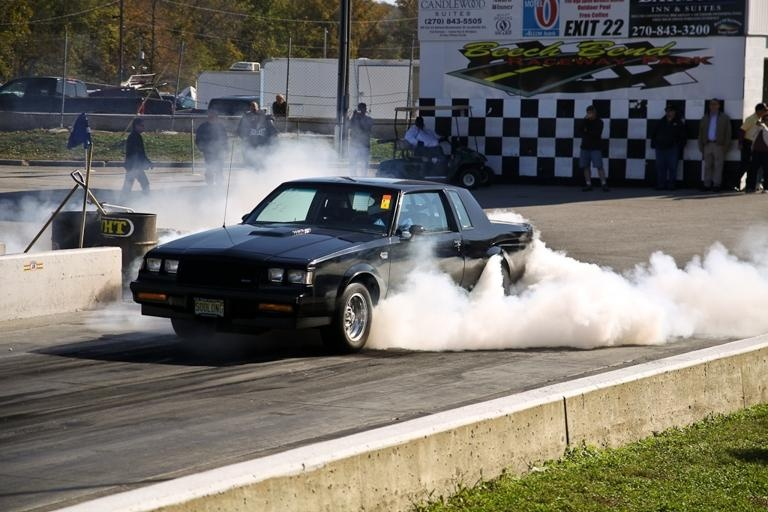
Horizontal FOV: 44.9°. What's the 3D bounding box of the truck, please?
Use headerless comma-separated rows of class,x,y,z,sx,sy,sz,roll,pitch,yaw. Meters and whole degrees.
truck,-2.278,-7.208,38.247,6.860,2.562,2.238,-4,29,-22

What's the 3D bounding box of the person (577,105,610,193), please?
person,4.598,-2.405,20.312,0.658,1.803,0.882,2,12,10

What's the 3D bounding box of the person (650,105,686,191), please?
person,6.205,-2.362,20.077,0.697,1.795,0.481,-7,14,-31

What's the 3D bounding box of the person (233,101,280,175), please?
person,-2.663,-2.576,19.695,0.849,1.813,0.436,1,50,-6

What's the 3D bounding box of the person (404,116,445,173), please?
person,0.909,-2.456,20.441,0.686,1.228,0.756,-6,13,-28
